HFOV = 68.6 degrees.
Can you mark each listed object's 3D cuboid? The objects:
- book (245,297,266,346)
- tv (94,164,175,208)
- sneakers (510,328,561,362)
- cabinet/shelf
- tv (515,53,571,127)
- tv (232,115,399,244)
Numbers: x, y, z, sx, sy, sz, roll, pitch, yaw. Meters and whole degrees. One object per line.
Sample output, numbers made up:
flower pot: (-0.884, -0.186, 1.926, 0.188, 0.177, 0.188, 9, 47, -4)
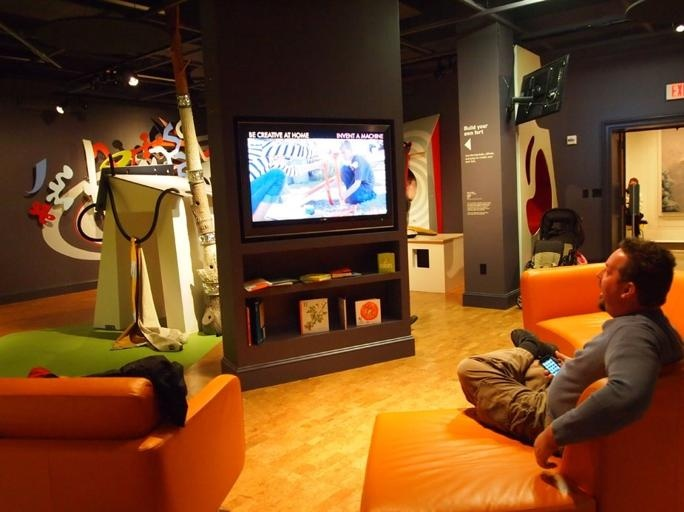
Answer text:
book: (-0.796, 0.599, 4.539, 0.149, 0.395, 0.404, -4, 3, 1)
tv: (-2.688, -0.912, 6.604, 1.115, 0.553, 0.445, -12, 13, -43)
sneakers: (1.169, 0.536, 3.059, 0.190, 0.079, 0.197, 28, 8, 23)
cabinet/shelf: (-0.256, 0.394, 5.145, 2.142, 1.657, 0.733, 10, -22, -39)
tv: (2.374, -2.040, 6.168, 0.361, 0.712, 0.695, 14, -6, -29)
tv: (-0.306, -0.720, 4.607, 1.132, 0.823, 0.076, -4, 6, -21)
